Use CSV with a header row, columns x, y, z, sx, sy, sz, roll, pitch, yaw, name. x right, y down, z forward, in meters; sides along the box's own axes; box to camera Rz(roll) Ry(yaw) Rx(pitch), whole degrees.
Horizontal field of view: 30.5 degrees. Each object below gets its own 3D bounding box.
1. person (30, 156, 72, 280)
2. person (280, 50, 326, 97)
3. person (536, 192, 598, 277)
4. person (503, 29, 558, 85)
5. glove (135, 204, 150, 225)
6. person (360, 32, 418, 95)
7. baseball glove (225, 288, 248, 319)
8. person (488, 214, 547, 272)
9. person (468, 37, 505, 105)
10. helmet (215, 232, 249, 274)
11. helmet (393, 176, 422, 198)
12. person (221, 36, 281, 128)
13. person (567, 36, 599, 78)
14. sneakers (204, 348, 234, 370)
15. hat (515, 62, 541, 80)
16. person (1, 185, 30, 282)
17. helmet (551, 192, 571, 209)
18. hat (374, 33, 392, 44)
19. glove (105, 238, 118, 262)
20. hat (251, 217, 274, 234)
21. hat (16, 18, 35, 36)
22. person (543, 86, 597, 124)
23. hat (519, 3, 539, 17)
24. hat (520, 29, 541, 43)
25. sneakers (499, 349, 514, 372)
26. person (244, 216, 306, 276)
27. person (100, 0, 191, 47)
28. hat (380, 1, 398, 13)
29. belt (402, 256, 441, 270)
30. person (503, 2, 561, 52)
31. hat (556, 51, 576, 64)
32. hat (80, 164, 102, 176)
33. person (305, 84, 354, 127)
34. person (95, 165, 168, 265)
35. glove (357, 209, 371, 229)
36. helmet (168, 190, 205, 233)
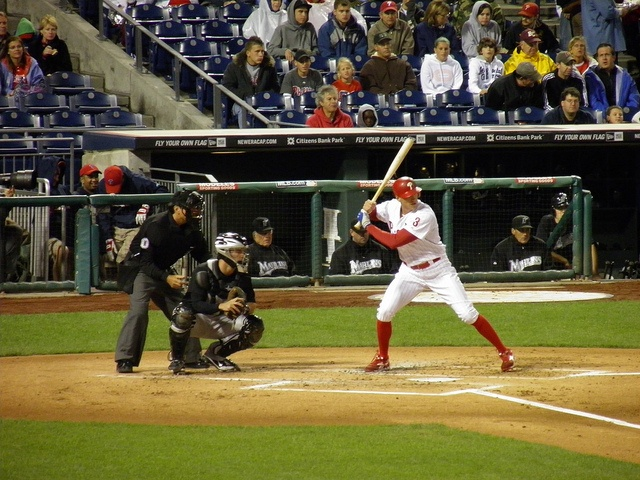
x,y,z,sx,sy,sz,roll,pitch,yaw,name
-4.262,-0.402,18.669,0.662,1.864,0.557,2,-19,-42,person
-0.289,-2.977,20.889,0.954,0.761,0.789,-2,11,-7,person
3.934,-0.057,19.196,1.209,1.307,1.185,-5,-9,42,person
3.877,-3.422,21.752,1.429,0.823,0.750,-8,13,-20,person
-2.592,-0.359,17.071,0.108,0.336,0.220,42,-25,-29,glove
1.209,-3.026,21.022,1.120,1.214,1.040,-3,13,-4,person
-0.989,0.729,13.543,0.276,0.320,0.108,-5,-7,20,baseball glove
3.245,0.084,19.471,1.122,1.174,0.700,-1,-2,-6,person
3.063,-3.126,21.520,0.938,1.157,1.010,2,5,12,person
-1.000,0.149,13.621,0.501,0.400,0.401,6,2,35,helmet
0.952,-0.609,13.705,0.230,0.141,0.301,-27,12,-33,helmet
-1.193,-2.796,20.546,1.152,1.353,0.962,-3,17,-34,person
4.660,-3.360,21.508,0.856,0.685,0.436,-3,7,-2,person
-1.194,1.444,13.948,0.375,0.146,0.167,25,8,-6,sneakers
3.581,-2.931,20.437,0.416,0.319,0.352,-1,10,-5,hat
-4.679,0.101,18.011,0.422,1.132,0.212,-4,11,-16,person
3.913,-0.635,19.449,0.225,0.226,0.288,-6,3,29,helmet
1.065,-3.559,20.796,0.242,0.139,0.313,-5,5,-16,hat
-3.275,0.165,18.323,0.327,0.287,0.089,-3,7,41,glove
-0.937,-0.231,18.398,0.305,0.157,0.231,0,4,43,hat
-5.337,-3.868,21.348,0.448,0.353,0.351,-5,11,-2,hat
4.222,-2.276,20.256,1.080,0.607,0.515,-7,14,-20,person
3.955,-4.409,22.365,0.262,0.190,0.390,31,37,34,hat
3.804,-3.759,21.616,0.264,0.171,0.347,-12,15,-42,hat
2.149,1.411,13.716,0.149,0.274,0.250,1,10,11,sneakers
-0.923,0.193,18.864,0.686,0.992,1.300,-3,2,39,person
-3.362,-4.332,23.103,1.240,1.352,1.247,-1,1,-25,person
1.216,-4.324,21.622,0.252,0.149,0.315,-1,2,-2,hat
1.209,0.286,13.774,0.349,0.141,0.081,0,10,3,belt
4.056,-4.184,22.964,0.938,0.886,1.130,-6,24,3,person
4.230,-3.185,20.533,0.227,0.149,0.287,-4,7,-30,hat
-3.650,-1.088,18.393,0.268,0.120,0.199,-8,-3,38,hat
0.081,-2.168,19.595,1.026,0.765,0.491,-5,6,-32,person
-3.023,-0.434,18.600,1.331,1.517,0.849,0,-11,2,person
0.531,-0.248,14.019,0.133,0.210,0.172,0,-4,-16,glove
-1.579,-0.368,13.740,0.439,0.386,0.318,14,2,18,helmet
